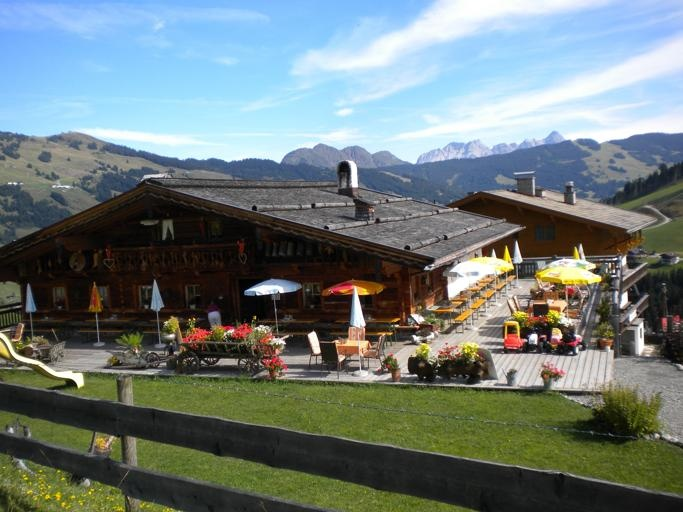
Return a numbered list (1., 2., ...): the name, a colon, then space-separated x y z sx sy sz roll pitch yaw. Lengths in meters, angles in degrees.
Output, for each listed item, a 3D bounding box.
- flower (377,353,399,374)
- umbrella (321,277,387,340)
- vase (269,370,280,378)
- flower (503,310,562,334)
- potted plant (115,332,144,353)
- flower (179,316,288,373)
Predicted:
1. flower: 1.386 3.126 16.294 0.792 0.540 0.606 -4 0 1
2. umbrella: 0.356 1.636 17.864 2.367 1.689 1.991 -1 9 4
3. vase: -1.957 3.456 16.603 0.285 0.149 0.271 5 -9 -37
4. flower: 6.541 2.183 18.931 0.870 0.738 1.733 -15 15 -43
5. potted plant: -7.658 3.126 20.427 1.206 0.531 0.878 -4 -9 5
6. flower: -3.504 2.924 17.612 3.502 1.348 1.020 0 13 20
